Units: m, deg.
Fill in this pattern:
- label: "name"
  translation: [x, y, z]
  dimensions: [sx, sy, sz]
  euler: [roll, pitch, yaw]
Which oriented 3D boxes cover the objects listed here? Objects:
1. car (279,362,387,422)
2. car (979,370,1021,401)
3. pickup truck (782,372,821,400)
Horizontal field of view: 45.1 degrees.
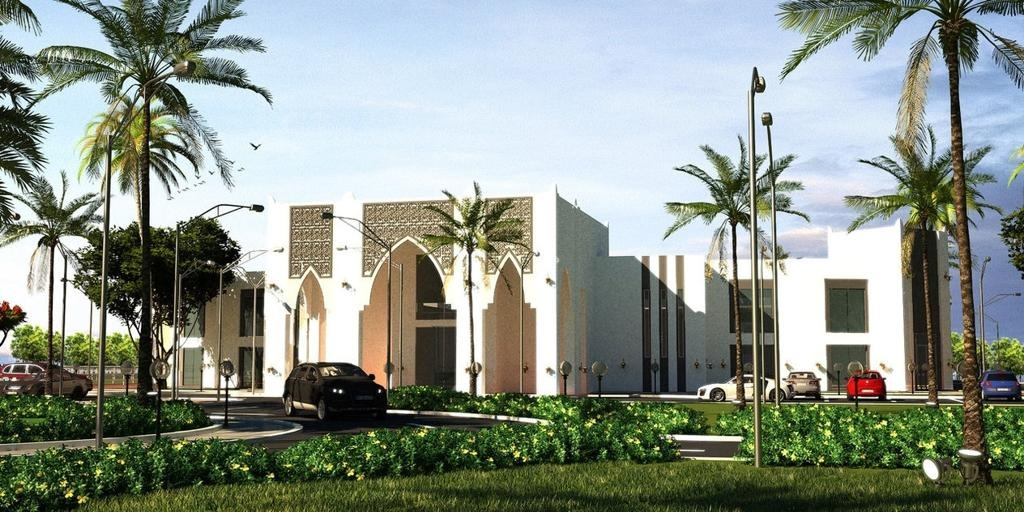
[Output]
- label: "car"
  translation: [-10.483, 8.011, 72.647]
  dimensions: [6.114, 3.332, 2.468]
  euler: [4, 4, 38]
- label: "car"
  translation: [35.463, 9.478, 89.359]
  dimensions: [2.487, 2.255, 2.215]
  euler: [3, 3, 17]
- label: "pickup truck"
  translation: [20.697, 9.302, 88.153]
  dimensions: [2.139, 1.386, 4.572]
  euler: [-1, -1, 14]
